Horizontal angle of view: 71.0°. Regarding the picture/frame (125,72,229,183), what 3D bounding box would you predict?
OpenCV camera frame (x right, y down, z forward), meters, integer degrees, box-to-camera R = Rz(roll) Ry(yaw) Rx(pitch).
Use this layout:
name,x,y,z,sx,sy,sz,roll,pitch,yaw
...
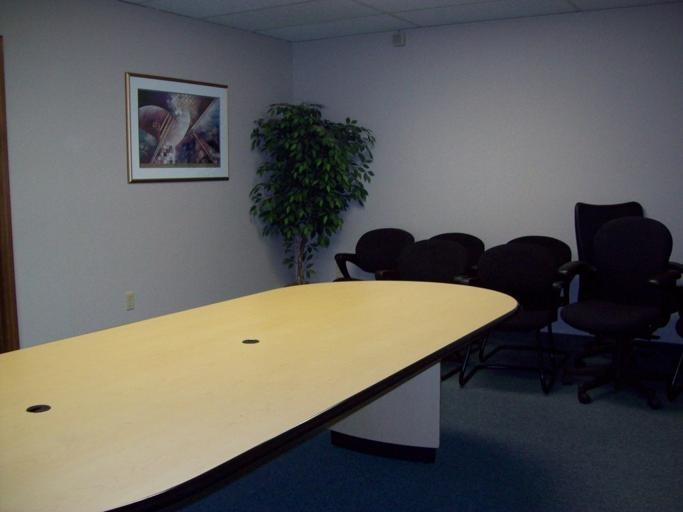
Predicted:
name,x,y,z,sx,sy,sz,roll,pitch,yaw
picture/frame,-1.589,-1.243,4.704,1.157,0.983,0.020,5,7,15
